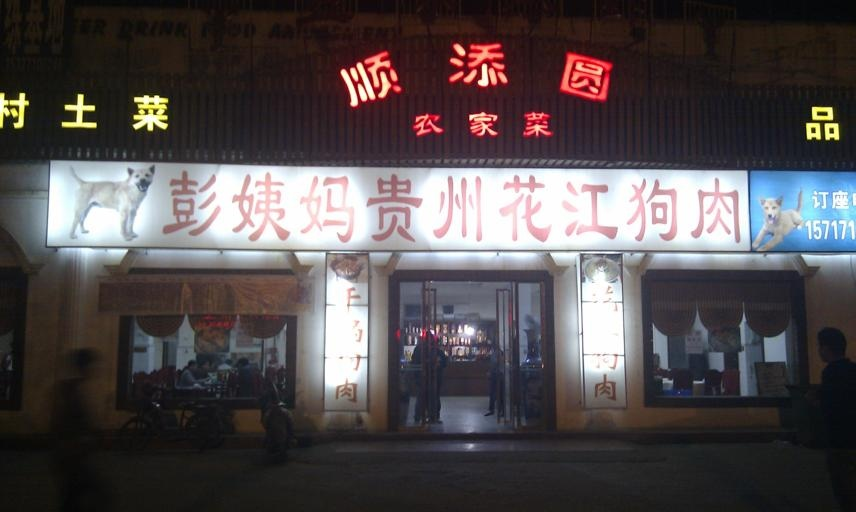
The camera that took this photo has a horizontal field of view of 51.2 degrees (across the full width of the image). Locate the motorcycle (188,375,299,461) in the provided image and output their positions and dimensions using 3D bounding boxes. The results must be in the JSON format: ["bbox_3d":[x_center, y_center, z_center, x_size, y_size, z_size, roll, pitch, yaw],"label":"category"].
[{"bbox_3d":[-4.124,3.808,20.247,2.607,1.594,1.363,-2,-9,0],"label":"motorcycle"}]

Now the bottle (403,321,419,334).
[{"bbox_3d":[-0.513,2.407,29.718,0.445,0.397,0.105,4,-39,-13],"label":"bottle"}]

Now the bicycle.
[{"bbox_3d":[-5.854,3.877,20.830,1.878,1.105,1.203,3,-36,-4],"label":"bicycle"}]
